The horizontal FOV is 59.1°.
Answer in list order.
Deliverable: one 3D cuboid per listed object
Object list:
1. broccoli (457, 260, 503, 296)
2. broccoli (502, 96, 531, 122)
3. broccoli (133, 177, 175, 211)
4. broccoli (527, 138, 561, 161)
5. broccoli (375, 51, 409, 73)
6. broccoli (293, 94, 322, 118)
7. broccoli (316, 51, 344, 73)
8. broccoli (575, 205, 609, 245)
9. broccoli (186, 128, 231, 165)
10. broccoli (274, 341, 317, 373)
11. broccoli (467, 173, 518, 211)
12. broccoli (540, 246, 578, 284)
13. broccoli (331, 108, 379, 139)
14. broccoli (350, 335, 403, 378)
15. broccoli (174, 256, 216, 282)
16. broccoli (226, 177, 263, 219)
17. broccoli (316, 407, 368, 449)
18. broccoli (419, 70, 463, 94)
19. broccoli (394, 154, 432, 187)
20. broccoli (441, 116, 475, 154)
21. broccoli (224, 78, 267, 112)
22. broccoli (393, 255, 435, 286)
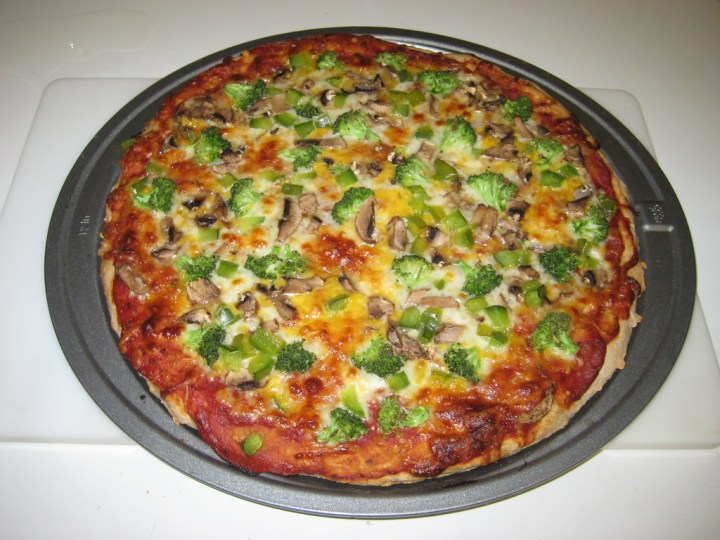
[{"bbox_3d":[0.973,0.073,5.190,0.267,0.294,0.159,-32,-39,-21],"label":"broccoli"},{"bbox_3d":[1.493,-1.529,6.088,0.260,0.233,0.105,23,-4,8],"label":"broccoli"},{"bbox_3d":[-1.811,-0.656,5.607,0.377,0.322,0.106,-4,-6,12],"label":"broccoli"},{"bbox_3d":[1.696,-1.103,5.802,0.249,0.220,0.091,-1,-13,7],"label":"broccoli"},{"bbox_3d":[0.328,-2.085,6.362,0.254,0.234,0.077,-28,-18,-18],"label":"broccoli"},{"bbox_3d":[-0.496,-1.518,6.056,0.237,0.217,0.085,-15,-45,-1],"label":"broccoli"},{"bbox_3d":[-0.294,-2.063,6.308,0.228,0.173,0.081,16,-43,16],"label":"broccoli"},{"bbox_3d":[2.015,-0.377,5.480,0.355,0.278,0.139,-14,-28,8],"label":"broccoli"},{"bbox_3d":[-1.394,-1.118,5.836,0.369,0.313,0.089,1,-14,-3],"label":"broccoli"},{"bbox_3d":[-0.513,0.686,4.960,0.275,0.231,0.100,1,-14,-4],"label":"broccoli"},{"bbox_3d":[1.169,-0.708,5.573,0.359,0.339,0.152,-4,-6,1],"label":"broccoli"},{"bbox_3d":[1.680,-0.052,5.335,0.270,0.291,0.248,-26,-54,14],"label":"broccoli"},{"bbox_3d":[-0.039,-1.305,5.852,0.357,0.256,0.142,31,-41,16],"label":"broccoli"},{"bbox_3d":[0.158,0.687,4.947,0.323,0.296,0.081,5,-37,9],"label":"broccoli"},{"bbox_3d":[-1.370,-0.010,5.286,0.378,0.213,0.147,-4,-53,-3],"label":"broccoli"},{"bbox_3d":[-1.014,-0.621,5.534,0.295,0.305,0.116,7,-9,-13],"label":"broccoli"},{"bbox_3d":[-0.141,1.195,4.934,0.318,0.180,0.270,-42,-82,-3],"label":"broccoli"},{"bbox_3d":[0.787,-1.837,6.194,0.329,0.240,0.120,-23,-42,-10],"label":"broccoli"},{"bbox_3d":[0.477,-0.862,5.628,0.307,0.261,0.113,6,-7,-16],"label":"broccoli"},{"bbox_3d":[0.883,-1.267,5.840,0.317,0.372,0.085,42,-36,1],"label":"broccoli"},{"bbox_3d":[-1.098,-1.676,6.172,0.352,0.326,0.103,24,-15,23],"label":"broccoli"},{"bbox_3d":[0.443,0.008,5.226,0.291,0.183,0.205,-21,-53,11],"label":"broccoli"}]
